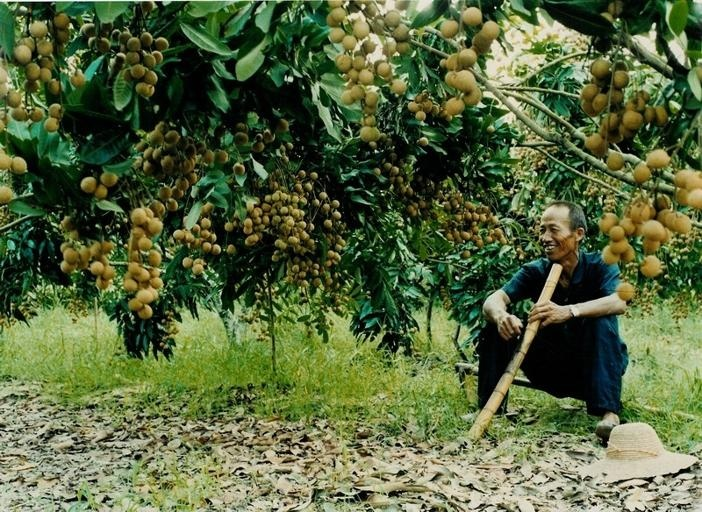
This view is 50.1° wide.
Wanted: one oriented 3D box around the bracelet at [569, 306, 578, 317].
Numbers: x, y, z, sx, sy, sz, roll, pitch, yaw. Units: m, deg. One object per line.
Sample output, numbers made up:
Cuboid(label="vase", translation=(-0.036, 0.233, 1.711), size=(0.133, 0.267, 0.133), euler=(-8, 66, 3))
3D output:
Cuboid(label="bracelet", translation=(1.154, 0.285, 3.903), size=(0.038, 0.058, 0.015), euler=(-2, -2, 23))

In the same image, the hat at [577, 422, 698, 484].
Cuboid(label="hat", translation=(1.283, 0.909, 3.395), size=(0.328, 0.134, 0.311), euler=(-12, 0, -44))
